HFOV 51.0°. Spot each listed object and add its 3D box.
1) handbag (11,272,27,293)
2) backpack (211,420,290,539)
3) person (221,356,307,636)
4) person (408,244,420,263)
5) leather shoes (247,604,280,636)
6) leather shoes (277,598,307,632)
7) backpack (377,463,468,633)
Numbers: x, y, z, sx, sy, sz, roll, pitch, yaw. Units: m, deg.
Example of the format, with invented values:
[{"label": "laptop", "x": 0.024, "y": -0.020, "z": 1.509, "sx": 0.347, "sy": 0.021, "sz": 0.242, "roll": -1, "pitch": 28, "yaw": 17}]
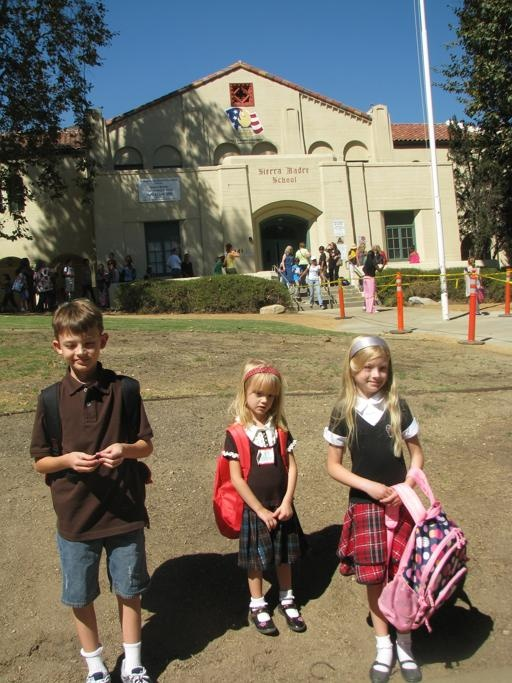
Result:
[{"label": "handbag", "x": -8.511, "y": -2.111, "z": 19.293, "sx": 0.420, "sy": 0.738, "sz": 1.132, "roll": -8, "pitch": 6, "yaw": -23}, {"label": "backpack", "x": -0.028, "y": 0.686, "z": 2.675, "sx": 0.403, "sy": 0.559, "sz": 0.308, "roll": 2, "pitch": 9, "yaw": -30}, {"label": "person", "x": 0.027, "y": 0.743, "z": 2.592, "sx": 0.430, "sy": 1.268, "sz": 0.426, "roll": -9, "pitch": 7, "yaw": -23}, {"label": "person", "x": 7.948, "y": -4.355, "z": 27.005, "sx": 0.563, "sy": 0.950, "sz": 2.080, "roll": -4, "pitch": 6, "yaw": 18}, {"label": "leather shoes", "x": 0.038, "y": 1.311, "z": 2.514, "sx": 0.063, "sy": 0.080, "sz": 0.186, "roll": 2, "pitch": -8, "yaw": -20}, {"label": "leather shoes", "x": 0.175, "y": 1.295, "z": 2.529, "sx": 0.071, "sy": 0.071, "sz": 0.186, "roll": 1, "pitch": -4, "yaw": -15}, {"label": "backpack", "x": 0.689, "y": 0.858, "z": 2.168, "sx": 0.436, "sy": 0.566, "sz": 0.294, "roll": -14, "pitch": 24, "yaw": -42}]
